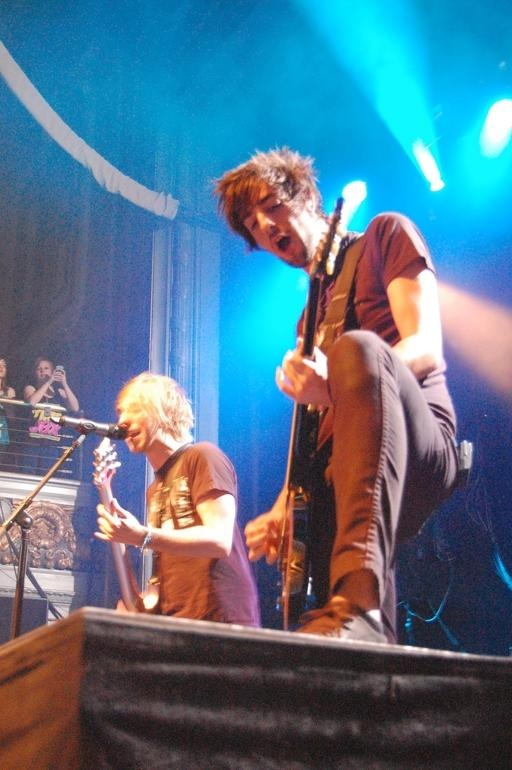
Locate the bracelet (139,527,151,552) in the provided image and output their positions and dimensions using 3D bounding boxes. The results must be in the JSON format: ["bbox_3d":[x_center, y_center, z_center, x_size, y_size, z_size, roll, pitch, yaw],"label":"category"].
[{"bbox_3d":[-0.336,0.481,2.120,0.018,0.059,0.043,13,-11,6],"label":"bracelet"}]

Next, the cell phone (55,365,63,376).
[{"bbox_3d":[-1.262,-0.093,4.381,0.042,0.040,0.060,-16,29,1],"label":"cell phone"}]

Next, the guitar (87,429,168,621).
[{"bbox_3d":[-0.515,0.415,2.659,0.122,0.893,0.290,-7,-15,-44],"label":"guitar"}]

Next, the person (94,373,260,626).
[{"bbox_3d":[-0.285,0.429,2.736,0.452,0.474,1.327,11,17,-21],"label":"person"}]

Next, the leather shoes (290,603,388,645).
[{"bbox_3d":[0.138,0.383,1.087,0.136,0.047,0.151,4,-2,10],"label":"leather shoes"}]
